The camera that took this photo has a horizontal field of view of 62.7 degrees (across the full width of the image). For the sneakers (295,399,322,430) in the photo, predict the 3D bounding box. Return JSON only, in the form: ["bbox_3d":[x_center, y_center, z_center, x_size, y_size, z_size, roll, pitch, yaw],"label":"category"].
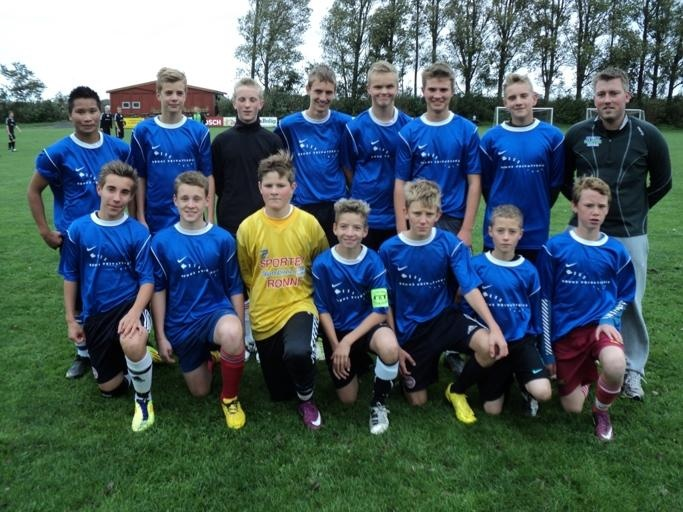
[{"bbox_3d":[-0.290,1.395,4.988,0.117,0.121,0.286,-17,23,-23],"label":"sneakers"}]

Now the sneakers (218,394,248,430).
[{"bbox_3d":[-0.950,1.383,4.941,0.145,0.121,0.304,-10,49,-33],"label":"sneakers"}]

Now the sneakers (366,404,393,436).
[{"bbox_3d":[0.335,1.418,4.914,0.177,0.146,0.269,0,16,3],"label":"sneakers"}]

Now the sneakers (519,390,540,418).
[{"bbox_3d":[1.733,1.290,5.058,0.196,0.250,0.191,0,15,1],"label":"sneakers"}]

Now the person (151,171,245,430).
[{"bbox_3d":[-1.271,0.316,5.161,1.038,2.076,0.704,8,17,29],"label":"person"}]

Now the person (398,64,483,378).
[{"bbox_3d":[1.025,-0.413,5.803,0.733,2.932,0.761,-2,8,28],"label":"person"}]

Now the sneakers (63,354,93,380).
[{"bbox_3d":[-2.640,1.117,5.606,0.110,0.149,0.318,4,3,2],"label":"sneakers"}]

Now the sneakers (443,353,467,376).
[{"bbox_3d":[1.179,1.100,5.774,0.113,0.153,0.349,-5,3,-4],"label":"sneakers"}]

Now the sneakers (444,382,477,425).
[{"bbox_3d":[1.088,1.328,5.078,0.146,0.157,0.352,-3,28,-25],"label":"sneakers"}]

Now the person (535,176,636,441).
[{"bbox_3d":[2.166,0.363,5.040,0.806,2.017,0.838,7,17,28],"label":"person"}]

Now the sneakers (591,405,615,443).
[{"bbox_3d":[2.245,1.445,4.797,0.106,0.134,0.325,-8,9,10],"label":"sneakers"}]

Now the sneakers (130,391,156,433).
[{"bbox_3d":[-1.750,1.366,4.884,0.133,0.171,0.375,-4,10,-17],"label":"sneakers"}]

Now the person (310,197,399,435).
[{"bbox_3d":[0.188,0.483,5.027,0.675,1.871,0.920,-6,16,-22],"label":"person"}]

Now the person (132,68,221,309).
[{"bbox_3d":[-1.796,-0.872,5.919,0.836,2.064,0.541,0,23,-16],"label":"person"}]
